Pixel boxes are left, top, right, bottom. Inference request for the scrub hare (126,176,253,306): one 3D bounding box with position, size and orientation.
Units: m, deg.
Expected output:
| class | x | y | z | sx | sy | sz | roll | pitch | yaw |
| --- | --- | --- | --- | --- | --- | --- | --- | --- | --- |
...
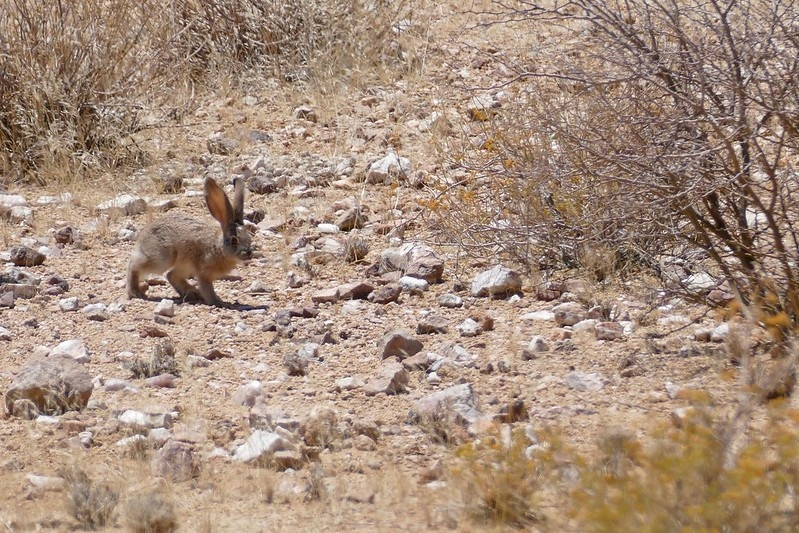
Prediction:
| class | x | y | z | sx | sy | sz | roll | pitch | yaw |
| --- | --- | --- | --- | --- | --- | --- | --- | --- | --- |
| scrub hare | -1.818 | -0.238 | 8.879 | 1.310 | 1.115 | 0.506 | 5 | 10 | 26 |
